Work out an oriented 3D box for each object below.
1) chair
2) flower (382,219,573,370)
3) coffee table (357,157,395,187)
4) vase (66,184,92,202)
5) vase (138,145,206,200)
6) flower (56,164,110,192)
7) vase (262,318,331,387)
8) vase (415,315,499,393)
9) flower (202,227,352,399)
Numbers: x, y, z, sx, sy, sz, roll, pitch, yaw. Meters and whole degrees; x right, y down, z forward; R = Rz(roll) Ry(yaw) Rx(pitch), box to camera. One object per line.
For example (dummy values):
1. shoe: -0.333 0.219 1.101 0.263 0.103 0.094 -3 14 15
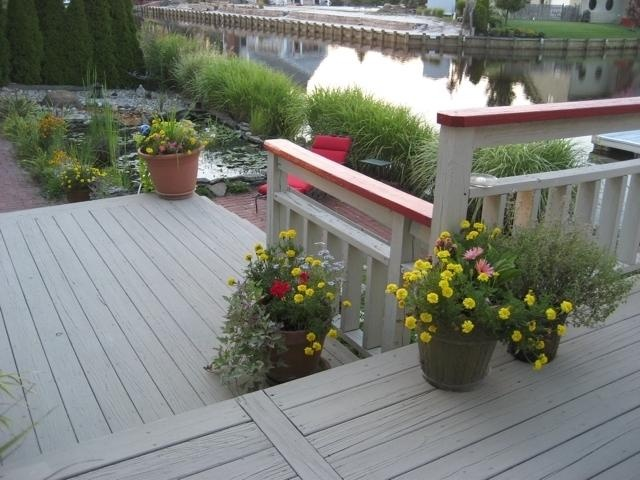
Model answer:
1. chair: -0.223 -0.863 5.913 1.230 0.719 0.642 -23 27 -38
2. flower: 0.715 0.286 2.115 0.813 0.639 0.566 7 25 8
3. coffee table: 0.952 -1.252 8.074 0.573 0.561 0.460 22 58 22
4. vase: -3.164 -0.615 6.165 0.303 0.228 0.308 -2 29 -9
5. vase: -1.698 -0.806 5.294 0.813 0.592 0.786 -7 3 -42
6. flower: -3.227 -0.862 6.167 0.430 0.270 0.477 22 31 15
7. vase: -0.125 0.623 2.512 0.310 0.231 0.320 15 23 37
8. vase: 0.586 0.496 2.119 0.333 0.249 0.327 -17 28 -33
9. flower: -0.233 0.369 2.764 0.800 0.933 0.954 10 18 25
